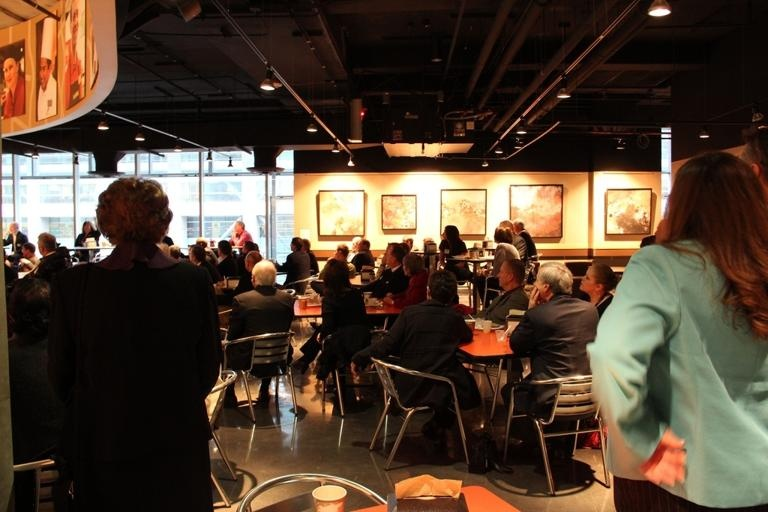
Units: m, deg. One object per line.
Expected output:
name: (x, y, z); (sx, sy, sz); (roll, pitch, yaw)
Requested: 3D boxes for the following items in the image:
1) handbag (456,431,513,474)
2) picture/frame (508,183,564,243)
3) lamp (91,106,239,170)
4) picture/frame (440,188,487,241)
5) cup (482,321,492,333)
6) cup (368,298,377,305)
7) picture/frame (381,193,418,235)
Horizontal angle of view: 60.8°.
handbag: (0.883, 1.711, 5.749); (0.381, 0.335, 0.270); (-1, -4, 28)
picture/frame: (3.610, -1.105, 15.578); (1.665, 1.557, 0.121); (1, 3, -2)
lamp: (-5.407, -2.946, 16.042); (4.118, 0.402, 1.287); (19, -16, -33)
picture/frame: (1.899, -1.083, 15.929); (1.469, 1.376, 0.061); (0, 0, -1)
cup: (1.027, 0.698, 6.602); (0.103, 0.107, 0.102); (2, -7, 0)
cup: (-0.148, 0.553, 8.004); (0.092, 0.064, 0.093); (0, -2, 0)
picture/frame: (0.399, -1.095, 16.172); (1.090, 1.022, 0.077); (0, 1, 3)
